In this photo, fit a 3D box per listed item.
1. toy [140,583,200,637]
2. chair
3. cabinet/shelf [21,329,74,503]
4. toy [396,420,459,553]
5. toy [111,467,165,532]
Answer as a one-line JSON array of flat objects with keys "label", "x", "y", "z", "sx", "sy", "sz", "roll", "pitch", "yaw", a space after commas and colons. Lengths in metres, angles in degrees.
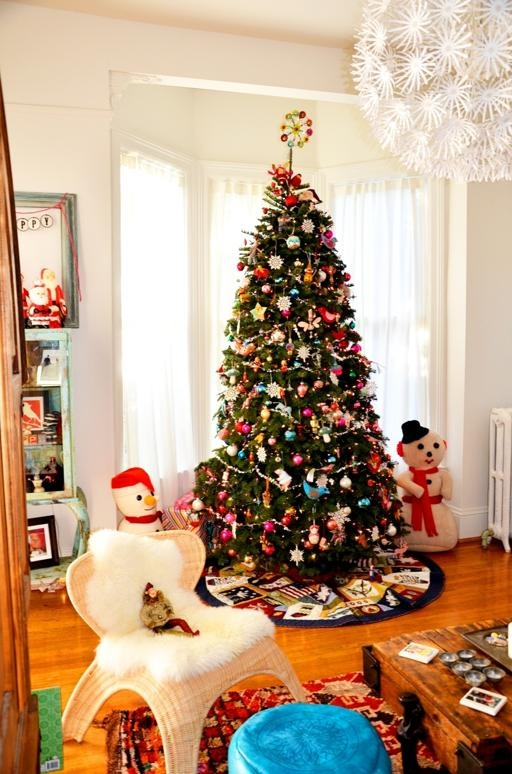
[{"label": "toy", "x": -0.286, "y": 0.753, "z": 2.034, "sx": 0.189, "sy": 0.190, "sz": 0.097, "roll": 0, "pitch": 21, "yaw": 35}, {"label": "chair", "x": -0.255, "y": 0.738, "z": 2.163, "sx": 0.730, "sy": 0.703, "sz": 0.779, "roll": -3, "pitch": -1, "yaw": 41}, {"label": "cabinet/shelf", "x": -1.095, "y": 0.136, "z": 3.088, "sx": 0.409, "sy": 0.863, "sz": 0.126, "roll": 1, "pitch": 0, "yaw": 15}, {"label": "toy", "x": 1.099, "y": 0.644, "z": 3.917, "sx": 0.376, "sy": 0.849, "sz": 0.240, "roll": 0, "pitch": 3, "yaw": 10}, {"label": "toy", "x": -0.668, "y": 0.645, "z": 3.439, "sx": 0.277, "sy": 0.383, "sz": 0.279, "roll": -1, "pitch": 3, "yaw": -9}]
